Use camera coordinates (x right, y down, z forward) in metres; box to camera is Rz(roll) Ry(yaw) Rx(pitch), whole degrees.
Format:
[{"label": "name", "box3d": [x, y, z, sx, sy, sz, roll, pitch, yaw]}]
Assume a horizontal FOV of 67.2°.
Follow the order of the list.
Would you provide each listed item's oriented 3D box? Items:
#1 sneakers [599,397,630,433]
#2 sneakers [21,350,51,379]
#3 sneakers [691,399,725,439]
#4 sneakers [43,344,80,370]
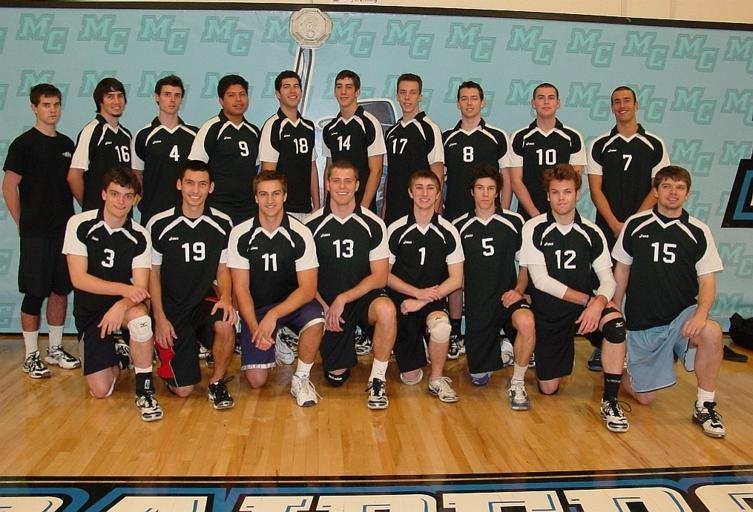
[{"label": "sneakers", "box3d": [1.796, 1.192, 4.257, 0.125, 0.129, 0.297, -1, 7, -1]}, {"label": "sneakers", "box3d": [-3.011, 0.961, 5.043, 0.363, 0.161, 0.144, 10, 11, 42]}, {"label": "sneakers", "box3d": [2.471, 1.211, 4.191, 0.126, 0.143, 0.318, 1, 9, -2]}, {"label": "sneakers", "box3d": [-2.886, 0.914, 5.252, 0.410, 0.180, 0.164, 11, 5, 20]}]
